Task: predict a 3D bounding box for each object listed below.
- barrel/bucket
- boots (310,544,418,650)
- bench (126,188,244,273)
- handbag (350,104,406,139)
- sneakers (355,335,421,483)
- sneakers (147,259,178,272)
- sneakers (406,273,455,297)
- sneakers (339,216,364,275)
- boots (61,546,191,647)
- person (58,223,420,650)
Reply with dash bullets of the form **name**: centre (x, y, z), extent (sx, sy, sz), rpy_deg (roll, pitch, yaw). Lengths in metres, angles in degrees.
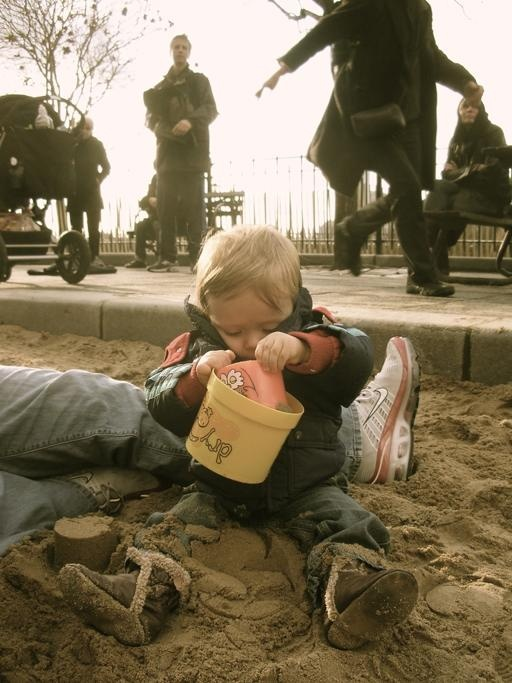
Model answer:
- **barrel/bucket**: centre (-0.017, 0.175, 1.242), extent (0.185, 0.144, 0.192), rpy_deg (22, 4, -2)
- **boots**: centre (0.162, 0.389, 1.044), extent (0.137, 0.135, 0.195), rpy_deg (-1, 13, -5)
- **bench**: centre (-0.912, -1.705, 9.850), extent (1.748, 1.127, 0.916), rpy_deg (6, 24, 13)
- **handbag**: centre (0.638, -1.154, 3.369), extent (0.275, 0.167, 0.155), rpy_deg (1, 13, 6)
- **sneakers**: centre (0.339, 0.185, 1.783), extent (0.207, 0.131, 0.417), rpy_deg (9, 42, -3)
- **sneakers**: centre (-1.012, -0.818, 6.966), extent (0.365, 0.158, 0.124), rpy_deg (4, 10, 8)
- **sneakers**: centre (1.024, -0.330, 3.796), extent (0.121, 0.135, 0.352), rpy_deg (-8, 8, -35)
- **sneakers**: centre (0.622, -0.621, 4.208), extent (0.132, 0.297, 0.245), rpy_deg (-17, -8, 26)
- **boots**: centre (-0.204, 0.401, 1.033), extent (0.123, 0.139, 0.175), rpy_deg (7, 15, 29)
- **person**: centre (0.129, 0.121, 1.443), extent (0.652, 0.652, 1.229), rpy_deg (1, 7, 24)
